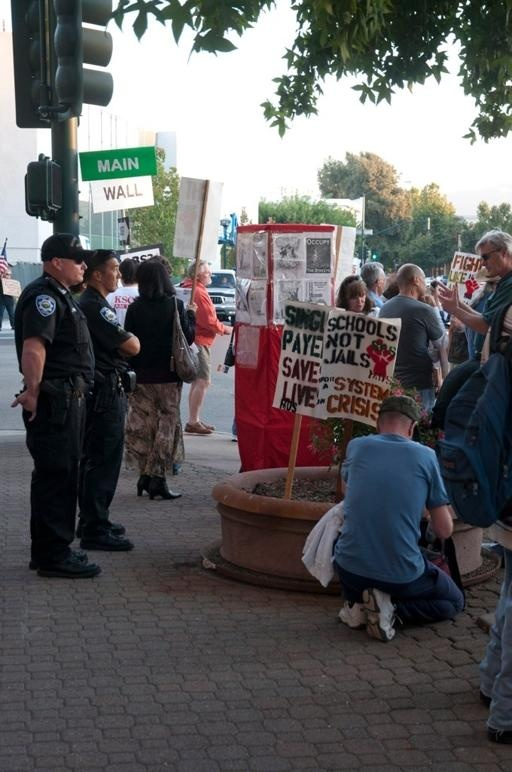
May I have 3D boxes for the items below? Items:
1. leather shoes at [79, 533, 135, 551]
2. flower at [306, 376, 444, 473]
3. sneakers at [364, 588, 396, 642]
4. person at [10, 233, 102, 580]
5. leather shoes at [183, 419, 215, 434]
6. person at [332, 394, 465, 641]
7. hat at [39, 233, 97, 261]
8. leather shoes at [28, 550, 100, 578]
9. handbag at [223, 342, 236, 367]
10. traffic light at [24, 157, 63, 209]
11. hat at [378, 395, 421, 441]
[{"bbox_3d":[-1.072,1.141,5.743,0.402,0.157,0.141,-1,2,2],"label":"leather shoes"},{"bbox_3d":[1.031,0.271,5.515,0.464,0.441,0.478,11,0,29],"label":"flower"},{"bbox_3d":[0.640,1.164,3.951,0.121,0.322,0.154,0,43,28],"label":"sneakers"},{"bbox_3d":[-1.209,0.158,4.821,0.616,2.149,0.442,1,11,-37],"label":"person"},{"bbox_3d":[-0.791,0.582,11.183,0.338,0.127,0.185,2,4,-1],"label":"leather shoes"},{"bbox_3d":[0.772,0.698,4.034,0.645,1.270,0.377,5,9,-19],"label":"person"},{"bbox_3d":[-1.160,-0.838,4.836,0.277,0.148,0.184,-4,24,-14],"label":"hat"},{"bbox_3d":[-1.213,1.123,5.014,0.510,0.215,0.177,0,12,-10],"label":"leather shoes"},{"bbox_3d":[-0.326,-0.402,9.969,0.107,0.271,0.284,3,-11,-2],"label":"handbag"},{"bbox_3d":[-1.948,-1.844,7.202,0.328,0.546,0.402,6,9,-12],"label":"traffic light"},{"bbox_3d":[0.728,0.186,4.054,0.174,0.229,0.237,8,-25,12],"label":"hat"}]
